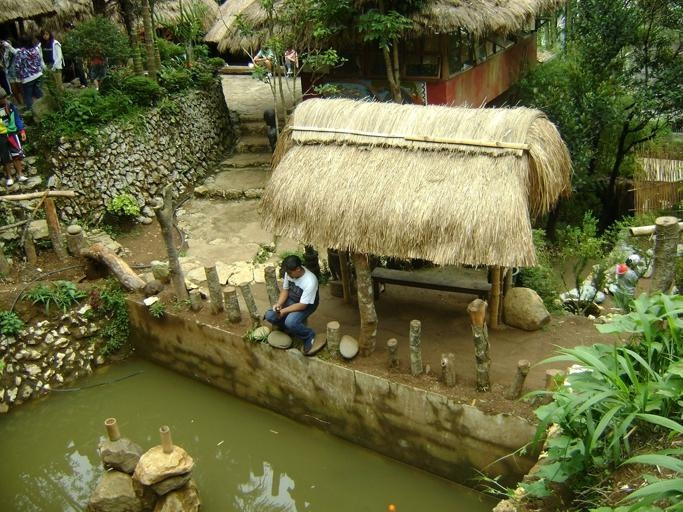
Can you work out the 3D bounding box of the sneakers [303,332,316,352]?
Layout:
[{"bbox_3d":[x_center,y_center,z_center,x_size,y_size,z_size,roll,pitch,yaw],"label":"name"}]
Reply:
[{"bbox_3d":[-0.523,1.396,8.484,0.122,0.340,0.131,8,-17,23],"label":"sneakers"}]

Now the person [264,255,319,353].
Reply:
[{"bbox_3d":[-0.768,0.734,8.331,0.781,1.667,0.444,5,20,23],"label":"person"}]

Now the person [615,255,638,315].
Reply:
[{"bbox_3d":[4.965,0.515,9.147,0.377,1.094,0.322,1,27,28],"label":"person"}]
